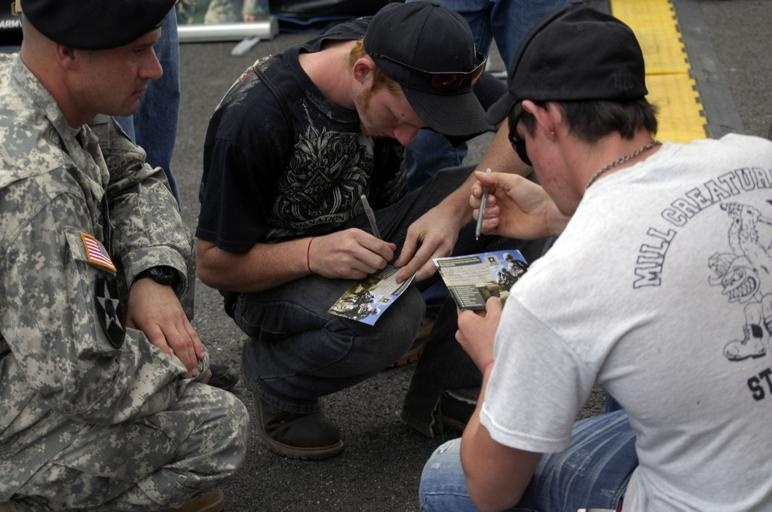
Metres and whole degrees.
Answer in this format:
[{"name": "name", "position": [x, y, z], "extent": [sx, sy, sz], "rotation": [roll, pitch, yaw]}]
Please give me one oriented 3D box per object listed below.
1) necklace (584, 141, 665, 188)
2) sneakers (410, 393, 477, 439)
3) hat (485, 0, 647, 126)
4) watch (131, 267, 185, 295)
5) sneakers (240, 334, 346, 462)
[{"name": "necklace", "position": [0.632, -0.253, 1.960], "extent": [0.030, 0.159, 0.126], "rotation": [52, 27, 7]}, {"name": "sneakers", "position": [0.233, 0.647, 2.995], "extent": [0.257, 0.094, 0.177], "rotation": [-11, 22, -40]}, {"name": "hat", "position": [0.489, -0.527, 1.981], "extent": [0.369, 0.215, 0.261], "rotation": [5, 16, 23]}, {"name": "watch", "position": [-0.812, 0.089, 2.657], "extent": [0.111, 0.106, 0.034], "rotation": [-10, 52, 3]}, {"name": "sneakers", "position": [-0.414, 0.559, 3.083], "extent": [0.231, 0.284, 0.624], "rotation": [-20, 40, -28]}]
